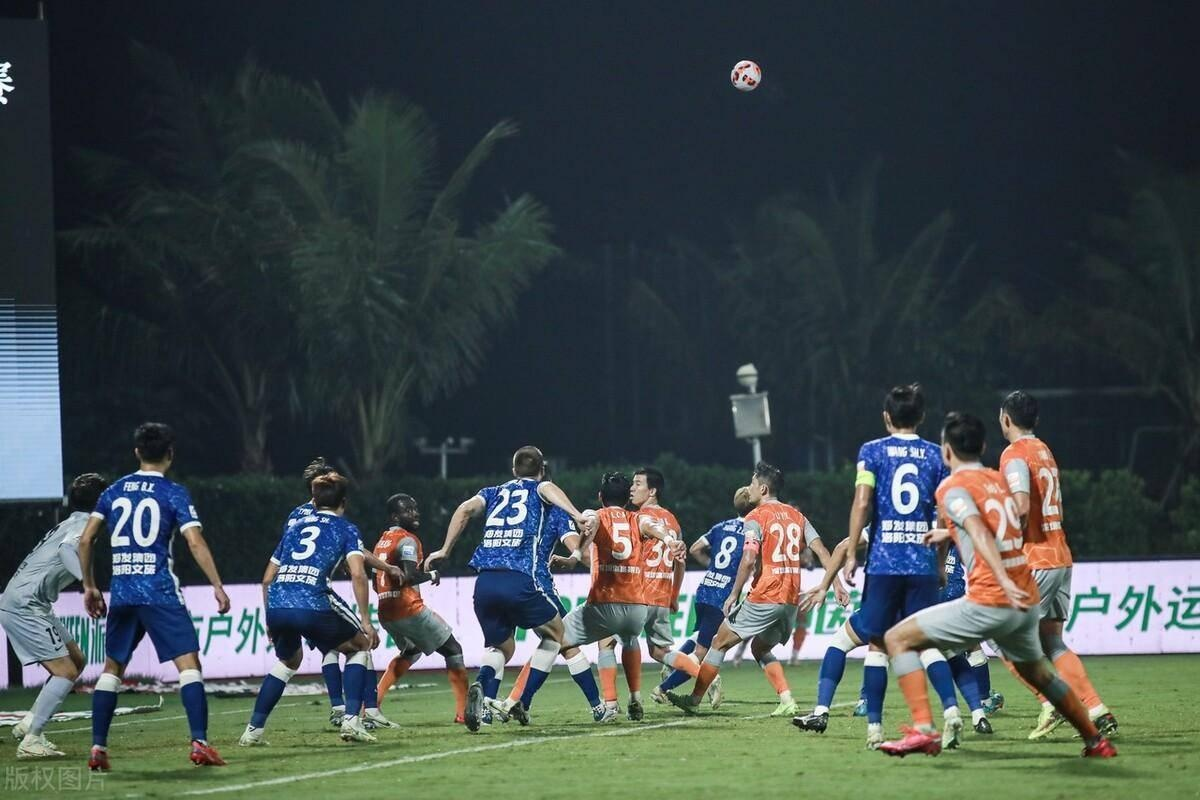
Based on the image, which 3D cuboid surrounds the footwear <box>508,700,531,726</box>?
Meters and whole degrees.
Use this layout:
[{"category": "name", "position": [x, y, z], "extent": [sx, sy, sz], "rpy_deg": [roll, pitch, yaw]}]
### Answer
[{"category": "footwear", "position": [-1.516, 5.641, 40.920], "extent": [0.200, 0.620, 0.279], "rpy_deg": [-14, 34, 24]}]

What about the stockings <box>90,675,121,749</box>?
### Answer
[{"category": "stockings", "position": [-8.625, 5.348, 39.358], "extent": [0.452, 1.288, 0.622], "rpy_deg": [1, -4, -13]}]

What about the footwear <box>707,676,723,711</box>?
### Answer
[{"category": "footwear", "position": [2.141, 5.572, 42.851], "extent": [0.205, 0.695, 0.302], "rpy_deg": [4, 39, 9]}]

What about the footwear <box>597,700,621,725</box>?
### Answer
[{"category": "footwear", "position": [0.151, 5.645, 41.286], "extent": [0.413, 0.396, 0.177], "rpy_deg": [2, -4, -25]}]

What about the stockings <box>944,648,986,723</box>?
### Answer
[{"category": "stockings", "position": [6.327, 4.976, 39.559], "extent": [0.389, 1.510, 0.342], "rpy_deg": [2, 34, 45]}]

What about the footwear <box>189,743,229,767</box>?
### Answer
[{"category": "footwear", "position": [-6.819, 6.051, 39.182], "extent": [0.581, 0.449, 0.335], "rpy_deg": [1, -4, -13]}]

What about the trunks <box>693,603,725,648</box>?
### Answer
[{"category": "trunks", "position": [1.961, 4.149, 42.273], "extent": [0.524, 1.091, 0.988], "rpy_deg": [5, -10, 7]}]

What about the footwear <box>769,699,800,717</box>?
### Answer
[{"category": "footwear", "position": [3.338, 5.662, 41.857], "extent": [0.642, 0.430, 0.237], "rpy_deg": [-6, -9, 26]}]

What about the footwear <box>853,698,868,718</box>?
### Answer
[{"category": "footwear", "position": [4.709, 5.563, 41.350], "extent": [0.233, 0.464, 0.414], "rpy_deg": [8, 0, -1]}]

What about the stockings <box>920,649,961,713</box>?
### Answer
[{"category": "stockings", "position": [5.819, 4.755, 38.890], "extent": [0.481, 0.364, 1.251], "rpy_deg": [-18, 38, -7]}]

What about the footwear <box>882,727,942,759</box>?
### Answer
[{"category": "footwear", "position": [5.230, 5.756, 38.421], "extent": [0.999, 0.668, 0.480], "rpy_deg": [2, -14, 1]}]

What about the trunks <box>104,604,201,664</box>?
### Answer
[{"category": "trunks", "position": [-7.900, 4.052, 39.660], "extent": [1.349, 0.984, 0.556], "rpy_deg": [-1, -1, 14]}]

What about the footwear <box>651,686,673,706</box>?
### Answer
[{"category": "footwear", "position": [1.127, 5.485, 42.184], "extent": [0.361, 0.492, 1.034], "rpy_deg": [1, 0, 2]}]

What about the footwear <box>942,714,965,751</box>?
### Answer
[{"category": "footwear", "position": [6.018, 5.709, 38.757], "extent": [0.248, 0.373, 0.820], "rpy_deg": [2, -41, 8]}]

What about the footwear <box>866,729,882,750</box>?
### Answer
[{"category": "footwear", "position": [4.683, 5.772, 38.911], "extent": [0.276, 0.489, 0.334], "rpy_deg": [1, -8, 14]}]

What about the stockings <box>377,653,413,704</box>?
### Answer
[{"category": "stockings", "position": [-4.034, 5.402, 44.005], "extent": [0.270, 1.110, 0.320], "rpy_deg": [33, -2, 27]}]

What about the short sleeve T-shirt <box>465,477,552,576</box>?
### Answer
[{"category": "short sleeve T-shirt", "position": [-1.673, 2.347, 41.553], "extent": [1.623, 2.014, 0.968], "rpy_deg": [4, -10, 13]}]

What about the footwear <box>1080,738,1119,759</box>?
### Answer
[{"category": "footwear", "position": [8.474, 5.860, 38.468], "extent": [0.416, 0.250, 0.348], "rpy_deg": [-3, 0, -20]}]

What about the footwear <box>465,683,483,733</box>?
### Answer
[{"category": "footwear", "position": [-2.271, 5.495, 40.680], "extent": [0.283, 0.897, 0.360], "rpy_deg": [0, -7, 8]}]

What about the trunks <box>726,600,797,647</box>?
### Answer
[{"category": "trunks", "position": [2.916, 3.993, 41.513], "extent": [1.201, 1.056, 0.740], "rpy_deg": [0, 27, -26]}]

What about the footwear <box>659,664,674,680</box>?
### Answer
[{"category": "footwear", "position": [1.250, 5.223, 43.705], "extent": [0.196, 0.291, 0.617], "rpy_deg": [6, 9, 14]}]

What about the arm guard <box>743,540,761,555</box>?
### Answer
[{"category": "arm guard", "position": [2.704, 2.655, 41.146], "extent": [0.213, 0.196, 0.214], "rpy_deg": [3, 1, -39]}]

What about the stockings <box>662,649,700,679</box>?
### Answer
[{"category": "stockings", "position": [1.395, 4.912, 42.107], "extent": [0.426, 0.299, 1.087], "rpy_deg": [-18, 17, -34]}]

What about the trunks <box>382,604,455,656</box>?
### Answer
[{"category": "trunks", "position": [-3.329, 4.223, 41.384], "extent": [1.244, 1.117, 0.811], "rpy_deg": [1, 35, 16]}]

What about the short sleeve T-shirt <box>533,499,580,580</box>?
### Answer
[{"category": "short sleeve T-shirt", "position": [-0.888, 2.606, 40.934], "extent": [0.972, 1.164, 0.425], "rpy_deg": [15, -15, -7]}]

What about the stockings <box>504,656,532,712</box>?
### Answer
[{"category": "stockings", "position": [-1.598, 5.352, 42.674], "extent": [0.261, 0.912, 0.921], "rpy_deg": [17, 42, 6]}]

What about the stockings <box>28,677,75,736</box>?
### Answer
[{"category": "stockings", "position": [-9.731, 5.338, 39.939], "extent": [0.669, 0.992, 0.433], "rpy_deg": [0, -4, -3]}]

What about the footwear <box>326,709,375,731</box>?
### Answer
[{"category": "footwear", "position": [-4.586, 5.812, 41.372], "extent": [0.342, 0.533, 1.016], "rpy_deg": [0, -1, 30]}]

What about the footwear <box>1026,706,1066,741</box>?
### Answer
[{"category": "footwear", "position": [7.802, 5.649, 39.680], "extent": [0.743, 0.377, 0.248], "rpy_deg": [-42, 15, -20]}]

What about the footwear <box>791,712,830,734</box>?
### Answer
[{"category": "footwear", "position": [3.683, 5.652, 40.041], "extent": [0.593, 0.345, 0.515], "rpy_deg": [-1, -5, 10]}]

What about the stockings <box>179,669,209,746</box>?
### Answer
[{"category": "stockings", "position": [-7.082, 5.239, 39.187], "extent": [0.436, 1.224, 0.302], "rpy_deg": [0, -4, -6]}]

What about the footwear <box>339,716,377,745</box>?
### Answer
[{"category": "footwear", "position": [-4.345, 5.852, 40.355], "extent": [0.786, 0.457, 0.300], "rpy_deg": [16, -9, -42]}]

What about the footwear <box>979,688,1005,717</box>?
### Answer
[{"category": "footwear", "position": [7.060, 5.473, 41.168], "extent": [0.381, 0.501, 0.475], "rpy_deg": [0, 3, -32]}]

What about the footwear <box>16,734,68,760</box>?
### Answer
[{"category": "footwear", "position": [-9.798, 6.083, 39.819], "extent": [0.949, 0.594, 0.365], "rpy_deg": [1, 0, -11]}]
